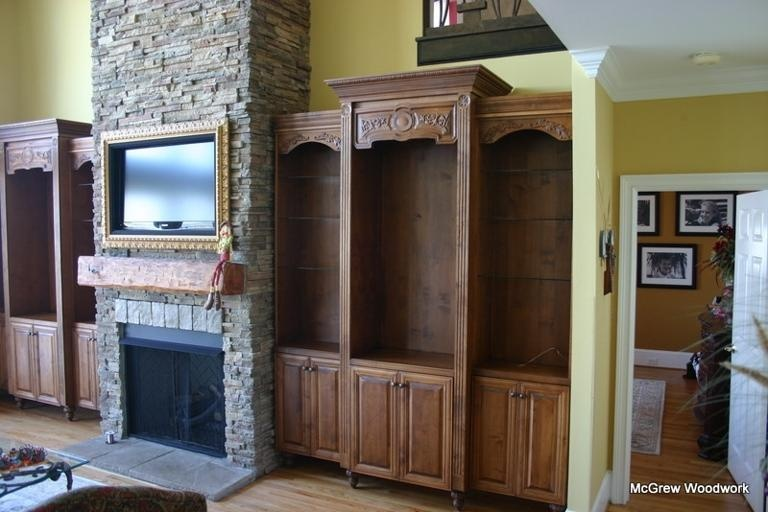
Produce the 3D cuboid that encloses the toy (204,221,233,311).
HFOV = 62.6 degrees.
[{"bbox_3d":[-1.517,0.104,5.847,0.231,0.842,0.413,2,2,-13],"label":"toy"}]

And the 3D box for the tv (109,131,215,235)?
[{"bbox_3d":[-2.117,-0.729,6.174,1.063,0.737,0.042,3,5,20],"label":"tv"}]

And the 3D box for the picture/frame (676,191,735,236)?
[{"bbox_3d":[4.360,-0.579,8.529,0.688,0.576,0.050,0,4,26],"label":"picture/frame"}]

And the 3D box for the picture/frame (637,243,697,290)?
[{"bbox_3d":[3.996,0.162,8.863,0.686,0.575,0.049,1,-2,19],"label":"picture/frame"}]
